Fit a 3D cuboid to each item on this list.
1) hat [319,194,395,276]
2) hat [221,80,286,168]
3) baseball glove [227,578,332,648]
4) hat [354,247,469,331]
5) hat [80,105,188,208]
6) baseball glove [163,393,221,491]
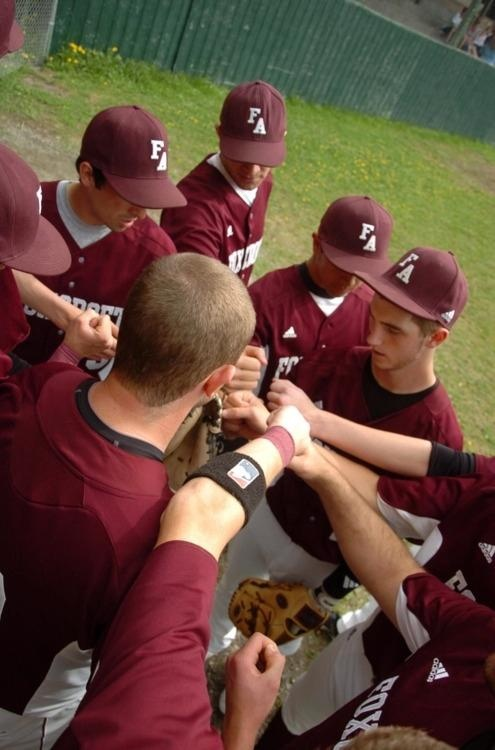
[{"bbox_3d":[0.557,-0.693,3.044,0.357,0.288,0.499,0,49,-21],"label":"hat"},{"bbox_3d":[0.053,-1.544,3.648,0.416,0.357,0.614,0,55,-12],"label":"hat"},{"bbox_3d":[0.129,1.050,2.503,0.449,0.339,0.151,2,6,-2],"label":"baseball glove"},{"bbox_3d":[0.771,-0.408,2.515,0.469,0.254,0.341,25,15,-31],"label":"hat"},{"bbox_3d":[-0.539,-1.038,2.625,0.504,0.334,0.423,30,31,5],"label":"hat"},{"bbox_3d":[-0.239,0.283,2.413,0.150,0.416,0.301,-1,-18,41],"label":"baseball glove"}]
